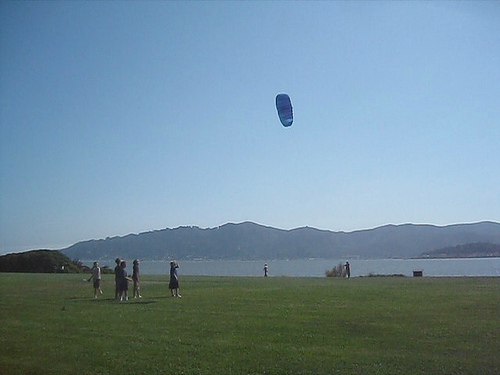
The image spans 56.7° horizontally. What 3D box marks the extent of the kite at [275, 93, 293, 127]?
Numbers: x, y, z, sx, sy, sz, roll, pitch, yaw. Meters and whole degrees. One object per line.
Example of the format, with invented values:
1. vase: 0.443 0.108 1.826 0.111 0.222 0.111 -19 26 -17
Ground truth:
1. kite: 1.487 -3.321 19.316 0.610 1.503 1.001 -1 -11 1
